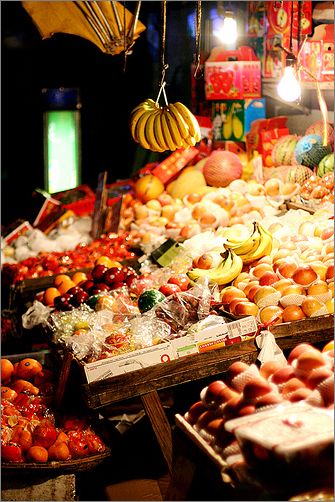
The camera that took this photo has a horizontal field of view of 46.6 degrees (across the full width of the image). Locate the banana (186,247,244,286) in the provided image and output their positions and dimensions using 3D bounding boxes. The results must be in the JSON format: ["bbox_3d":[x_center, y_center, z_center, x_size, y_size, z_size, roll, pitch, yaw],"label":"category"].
[{"bbox_3d":[0.319,0.117,2.542,0.339,0.191,0.216,-15,16,-23],"label":"banana"}]

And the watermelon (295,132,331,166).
[{"bbox_3d":[1.515,-1.013,4.087,0.321,0.316,0.361,-7,37,44],"label":"watermelon"}]

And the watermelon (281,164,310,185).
[{"bbox_3d":[1.357,-0.820,4.090,0.186,0.136,0.227,-7,9,-11],"label":"watermelon"}]

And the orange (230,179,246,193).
[{"bbox_3d":[0.800,-0.717,4.316,0.184,0.178,0.216,-1,3,-1],"label":"orange"}]

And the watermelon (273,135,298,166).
[{"bbox_3d":[1.335,-1.152,4.452,0.217,0.350,0.319,13,-2,-11],"label":"watermelon"}]

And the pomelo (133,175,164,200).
[{"bbox_3d":[-0.213,-0.804,5.225,0.344,0.382,0.326,11,-16,4],"label":"pomelo"}]

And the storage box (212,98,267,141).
[{"bbox_3d":[0.970,-1.843,5.360,0.335,0.550,0.658,-15,24,-30],"label":"storage box"}]

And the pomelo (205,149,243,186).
[{"bbox_3d":[0.648,-1.026,4.804,0.366,0.446,0.433,-17,22,-29],"label":"pomelo"}]

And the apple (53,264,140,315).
[{"bbox_3d":[-0.528,0.309,2.802,0.399,0.138,0.394,-30,2,4],"label":"apple"}]

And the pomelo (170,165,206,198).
[{"bbox_3d":[0.260,-0.888,5.026,0.350,0.395,0.417,-17,24,-33],"label":"pomelo"}]

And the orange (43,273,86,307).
[{"bbox_3d":[-0.866,0.286,3.213,0.272,0.257,0.326,7,24,28],"label":"orange"}]
